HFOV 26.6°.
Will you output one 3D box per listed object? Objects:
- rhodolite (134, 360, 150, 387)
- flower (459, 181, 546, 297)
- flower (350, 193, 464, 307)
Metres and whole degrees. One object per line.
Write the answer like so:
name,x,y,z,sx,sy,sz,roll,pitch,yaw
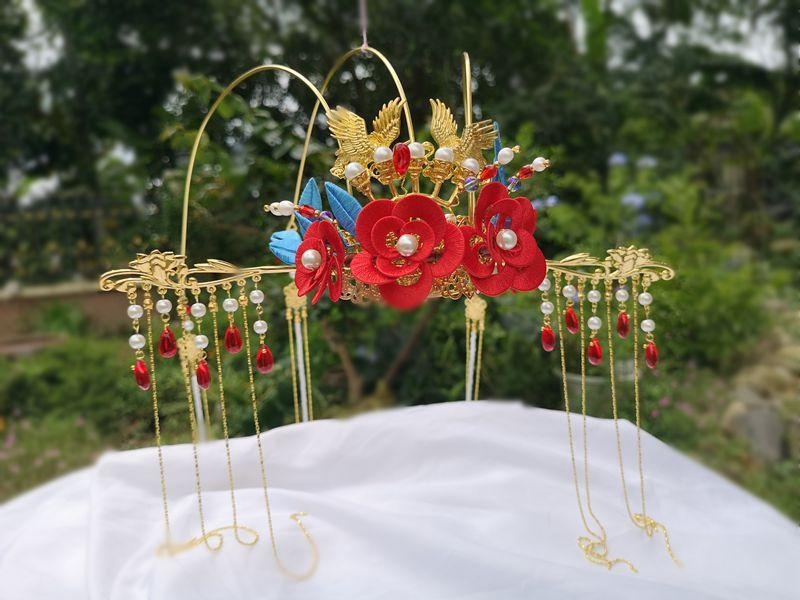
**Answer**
rhodolite,-1.043,0.303,6.833,0.071,0.112,0.033,-4,8,4
flower,0.394,-0.222,6.874,0.386,0.429,0.165,24,-14,-15
flower,0.110,-0.181,6.684,0.404,0.398,0.121,-27,-40,31
